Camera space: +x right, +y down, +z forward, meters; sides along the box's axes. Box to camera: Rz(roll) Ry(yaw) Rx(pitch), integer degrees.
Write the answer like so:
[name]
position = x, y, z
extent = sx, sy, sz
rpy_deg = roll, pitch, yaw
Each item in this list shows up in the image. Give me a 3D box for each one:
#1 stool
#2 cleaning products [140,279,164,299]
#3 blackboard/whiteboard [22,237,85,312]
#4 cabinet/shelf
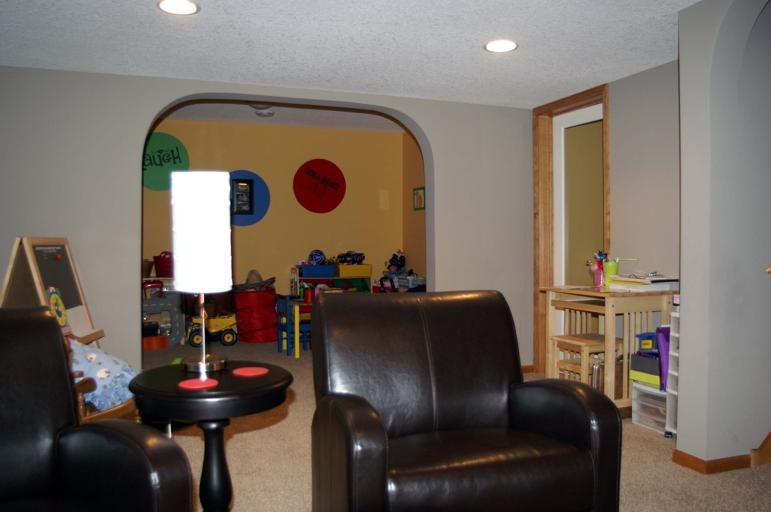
[stool]
position = 1.689, 0.894, 5.013
extent = 0.516, 0.482, 0.504
rpy_deg = 1, 0, -24
[cleaning products]
position = -2.784, 0.391, 7.121
extent = 0.224, 0.191, 0.144
rpy_deg = -4, 2, -25
[blackboard/whiteboard]
position = -2.476, 0.142, 4.384
extent = 0.205, 0.563, 0.571
rpy_deg = -16, -1, 0
[cabinet/shelf]
position = 1.842, 0.657, 5.099
extent = 0.599, 0.797, 0.858
rpy_deg = 1, 3, -21
